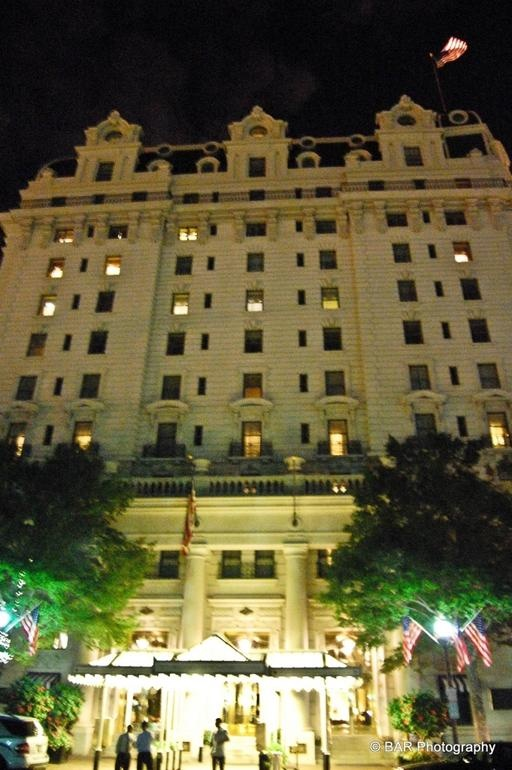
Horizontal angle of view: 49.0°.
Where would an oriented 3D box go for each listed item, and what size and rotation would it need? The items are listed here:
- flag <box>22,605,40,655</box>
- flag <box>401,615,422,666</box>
[{"bbox_3d":[-6.443,6.982,15.994,0.431,1.154,0.857,6,-33,-7],"label":"flag"},{"bbox_3d":[4.531,7.320,16.166,0.441,1.215,0.919,7,-33,-8],"label":"flag"}]
